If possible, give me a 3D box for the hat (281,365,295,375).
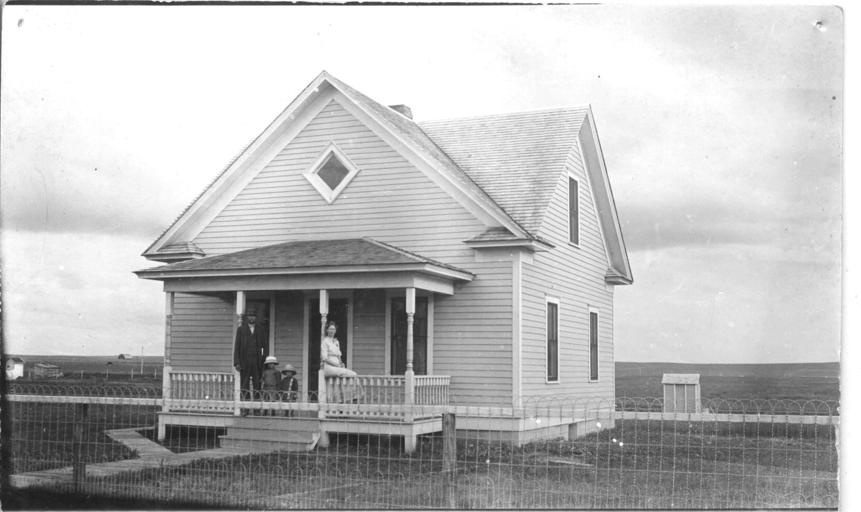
[{"bbox_3d":[-4.400,3.481,28.939,0.405,0.127,0.382,2,-26,-2],"label":"hat"}]
